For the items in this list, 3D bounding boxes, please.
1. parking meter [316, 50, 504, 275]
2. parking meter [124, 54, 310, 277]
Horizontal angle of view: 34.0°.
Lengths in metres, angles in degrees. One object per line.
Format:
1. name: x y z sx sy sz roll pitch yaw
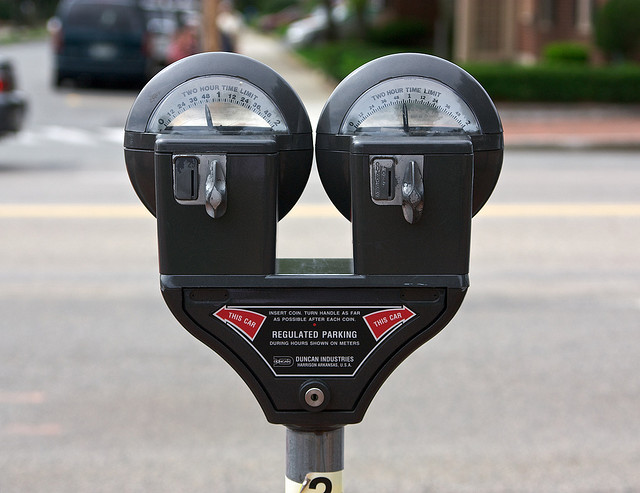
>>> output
1. parking meter: 0.327 -0.297 3.683 0.673 0.695 0.415 -3 21 0
2. parking meter: -0.365 -0.270 3.803 0.630 0.858 0.524 0 2 1
